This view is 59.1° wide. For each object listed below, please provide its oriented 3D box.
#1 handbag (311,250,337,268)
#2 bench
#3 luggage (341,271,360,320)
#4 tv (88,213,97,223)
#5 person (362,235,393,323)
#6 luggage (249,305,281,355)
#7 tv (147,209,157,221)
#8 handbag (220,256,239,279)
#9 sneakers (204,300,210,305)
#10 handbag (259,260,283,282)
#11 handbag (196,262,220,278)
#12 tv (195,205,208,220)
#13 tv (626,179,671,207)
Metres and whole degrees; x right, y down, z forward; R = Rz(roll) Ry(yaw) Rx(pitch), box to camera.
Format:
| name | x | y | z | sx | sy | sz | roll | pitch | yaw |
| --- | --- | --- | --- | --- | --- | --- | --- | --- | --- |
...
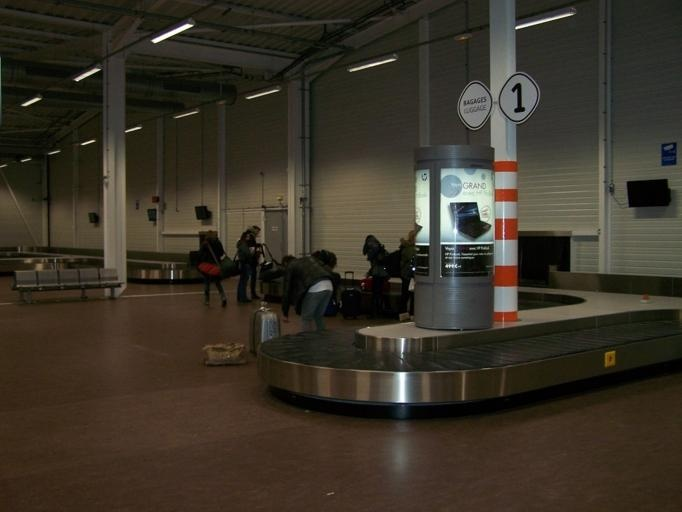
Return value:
| name | x | y | z | sx | sy | sz | roll | pitch | yaw |
| --- | --- | --- | --- | --- | --- | --- | --- | --- | --- |
| handbag | -0.225 | 0.035 | 7.897 | 0.241 | 0.112 | 0.329 | 19 | 1 | 17 |
| bench | -6.767 | 0.677 | 14.715 | 2.315 | 0.734 | 1.451 | -1 | 3 | -32 |
| luggage | 0.197 | 0.768 | 11.524 | 0.322 | 0.890 | 0.313 | -2 | -4 | 8 |
| tv | -11.730 | -1.780 | 28.191 | 0.226 | 0.452 | 0.413 | 3 | -5 | -41 |
| person | 0.710 | 0.400 | 11.783 | 0.444 | 1.564 | 0.841 | 0 | 2 | 1 |
| luggage | -1.002 | 0.999 | 7.752 | 0.361 | 0.583 | 0.372 | 6 | 6 | 22 |
| tv | -7.697 | -1.665 | 24.343 | 0.239 | 0.456 | 0.439 | -2 | 4 | -37 |
| handbag | -2.420 | 0.243 | 13.058 | 0.399 | 0.434 | 0.906 | 0 | 2 | -9 |
| sneakers | -2.987 | 1.036 | 13.285 | 0.111 | 0.120 | 0.088 | -1 | -5 | -7 |
| handbag | -1.192 | 0.231 | 9.703 | 0.279 | 0.320 | 0.411 | 17 | 10 | 36 |
| handbag | -2.849 | 0.294 | 12.884 | 0.406 | 0.161 | 0.297 | 10 | 3 | -20 |
| tv | -5.064 | -1.559 | 21.711 | 0.236 | 0.481 | 0.461 | -8 | 9 | -31 |
| tv | 5.630 | -1.239 | 10.886 | 0.414 | 0.621 | 0.799 | -5 | 4 | -36 |
